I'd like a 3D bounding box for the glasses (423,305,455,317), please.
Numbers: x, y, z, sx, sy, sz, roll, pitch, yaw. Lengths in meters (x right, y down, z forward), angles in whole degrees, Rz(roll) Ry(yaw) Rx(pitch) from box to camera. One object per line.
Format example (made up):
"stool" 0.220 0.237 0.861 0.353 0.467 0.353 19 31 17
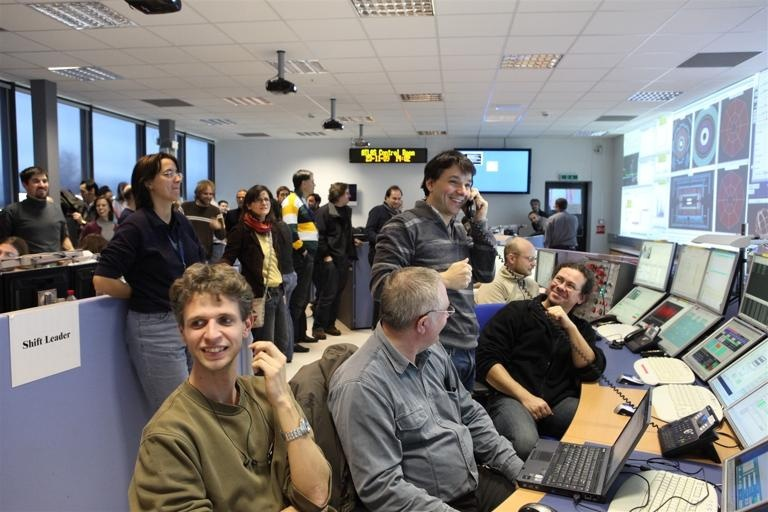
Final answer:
"glasses" 0.290 0.272 2.563 0.119 0.036 0.112 -5 1 -14

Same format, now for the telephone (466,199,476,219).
"telephone" 0.548 -0.297 3.187 0.070 0.096 0.030 4 1 44

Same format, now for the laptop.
"laptop" 0.959 0.966 2.472 0.521 0.360 0.524 3 13 27

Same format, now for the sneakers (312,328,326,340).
"sneakers" -0.779 0.918 6.125 0.102 0.106 0.278 1 -8 -15

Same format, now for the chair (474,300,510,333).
"chair" 0.792 0.435 3.801 0.214 0.255 0.215 1 3 7

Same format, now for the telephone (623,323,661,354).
"telephone" 1.905 0.590 3.756 0.226 0.088 0.160 -31 18 2

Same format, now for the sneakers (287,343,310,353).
"sneakers" -0.927 1.014 5.714 0.279 0.108 0.088 -1 -1 6

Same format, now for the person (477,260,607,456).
"person" 1.008 0.673 3.303 0.549 0.625 1.123 20 48 11

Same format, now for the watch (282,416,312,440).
"watch" -0.374 0.760 2.242 0.104 0.070 0.110 -16 -15 7

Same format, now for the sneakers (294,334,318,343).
"sneakers" -0.900 0.948 5.951 0.284 0.115 0.094 -1 -2 -13

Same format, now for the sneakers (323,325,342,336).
"sneakers" -0.620 0.915 6.309 0.090 0.090 0.205 1 -3 -26

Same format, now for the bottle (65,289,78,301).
"bottle" -1.885 0.229 3.083 0.058 0.101 0.056 2 9 0
